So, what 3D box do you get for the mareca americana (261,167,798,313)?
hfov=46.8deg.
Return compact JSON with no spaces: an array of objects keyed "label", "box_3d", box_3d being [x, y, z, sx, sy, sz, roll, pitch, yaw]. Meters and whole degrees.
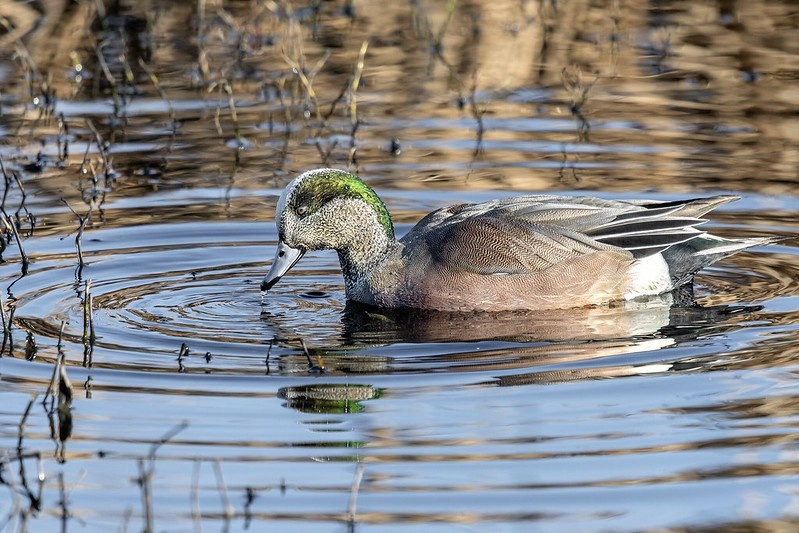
[{"label":"mareca americana","box_3d":[0.709,-0.050,7.284,3.419,0.987,1.017,8,42,6]}]
